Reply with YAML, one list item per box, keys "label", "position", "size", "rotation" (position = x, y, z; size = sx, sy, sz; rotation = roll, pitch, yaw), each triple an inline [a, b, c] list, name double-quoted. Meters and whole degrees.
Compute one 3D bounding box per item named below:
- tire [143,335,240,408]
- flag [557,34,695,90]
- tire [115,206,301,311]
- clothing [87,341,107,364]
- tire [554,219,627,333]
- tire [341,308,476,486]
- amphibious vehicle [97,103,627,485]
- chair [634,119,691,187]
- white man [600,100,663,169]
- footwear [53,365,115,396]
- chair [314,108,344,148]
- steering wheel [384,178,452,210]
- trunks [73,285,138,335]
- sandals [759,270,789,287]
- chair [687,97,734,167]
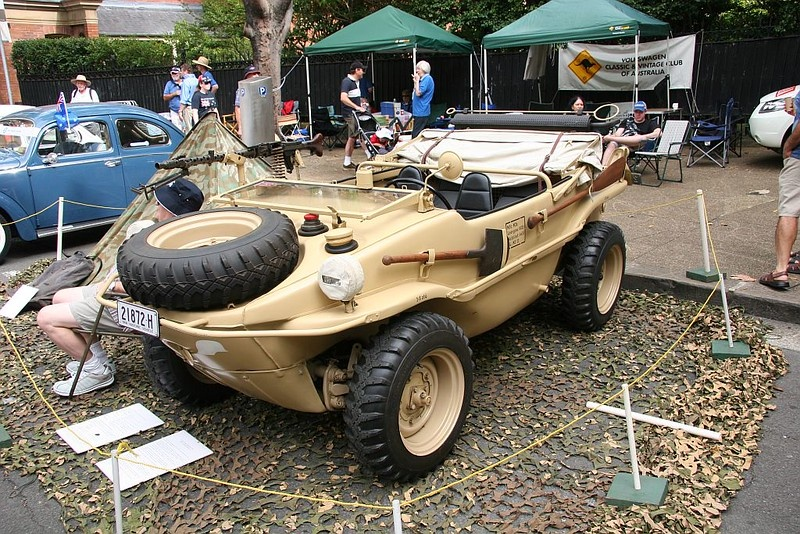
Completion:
- label: "tire"
  position: [-1.667, 0.853, 4.460]
  size: [0.688, 0.701, 0.265]
  rotation: [-12, 13, -44]
- label: "flag"
  position: [5.612, -5.253, 14.243]
  size: [0.116, 1.400, 3.981]
  rotation: [-22, 29, -27]
- label: "tire"
  position: [-1.416, -0.050, 4.130]
  size: [1.173, 0.395, 1.196]
  rotation: [-1, 22, 9]
- label: "clothing"
  position: [-2.829, 0.812, 5.287]
  size: [0.153, 0.183, 0.183]
  rotation: [-19, 8, -5]
- label: "tire"
  position: [2.141, 0.090, 6.050]
  size: [0.409, 1.224, 1.199]
  rotation: [14, 16, 38]
- label: "tire"
  position: [0.139, 1.008, 4.299]
  size: [0.369, 1.296, 1.264]
  rotation: [7, 15, 42]
- label: "amphibious vehicle"
  position: [0.175, -0.211, 5.142]
  size: [2.728, 2.031, 4.623]
  rotation: [10, 25, 43]
- label: "chair"
  position: [5.320, -2.375, 11.230]
  size: [0.912, 1.197, 1.009]
  rotation: [9, 21, 37]
- label: "white man"
  position: [4.533, -2.636, 10.957]
  size: [1.597, 0.930, 0.758]
  rotation: [-32, 33, -27]
- label: "footwear"
  position: [-2.927, 1.087, 5.269]
  size: [0.608, 0.264, 0.237]
  rotation: [-7, 15, -27]
- label: "chair"
  position: [-2.098, -4.292, 16.638]
  size: [0.919, 1.208, 1.070]
  rotation: [18, 22, 41]
- label: "steering wheel"
  position: [0.193, -0.752, 5.293]
  size: [0.516, 0.192, 0.511]
  rotation: [4, 10, -1]
- label: "trunks"
  position: [-2.664, 0.422, 4.917]
  size: [0.570, 0.246, 0.579]
  rotation: [5, 12, -2]
- label: "sandals"
  position: [4.219, 0.126, 6.185]
  size: [0.295, 0.189, 0.167]
  rotation: [13, 26, 31]
- label: "chair"
  position: [7.187, -3.106, 12.777]
  size: [0.995, 1.500, 0.926]
  rotation: [2, 12, 27]
